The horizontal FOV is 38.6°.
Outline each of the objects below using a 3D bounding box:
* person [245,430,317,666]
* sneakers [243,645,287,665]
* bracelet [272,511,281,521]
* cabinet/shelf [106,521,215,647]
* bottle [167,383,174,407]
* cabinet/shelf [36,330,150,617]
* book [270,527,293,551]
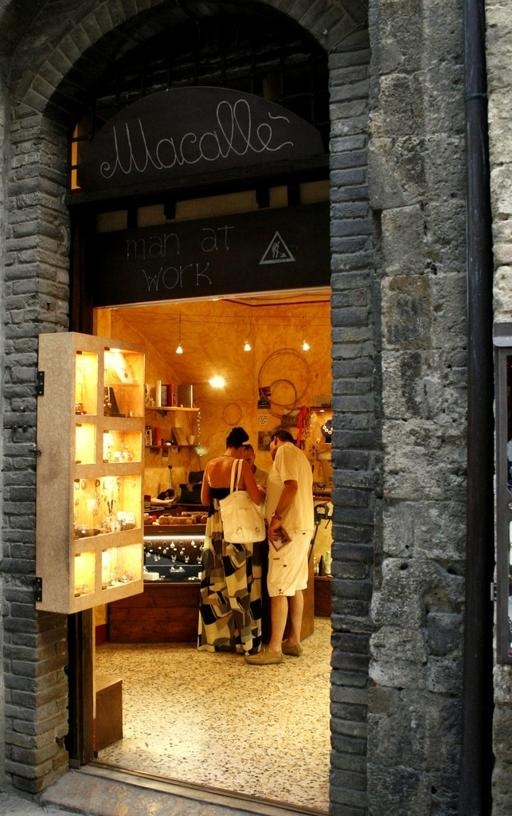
[{"bbox_3d":[0.190,1.015,5.414,0.436,1.707,0.620,-1,-3,13],"label":"person"},{"bbox_3d":[0.070,1.818,5.393,0.220,0.098,0.110,4,-10,-7],"label":"sneakers"},{"bbox_3d":[0.143,0.754,5.140,0.052,0.052,0.052,6,-13,-8],"label":"bracelet"},{"bbox_3d":[-0.937,1.597,5.942,0.905,0.626,0.463,13,-35,-43],"label":"cabinet/shelf"},{"bbox_3d":[-1.055,-0.153,8.953,0.079,0.269,0.179,1,-3,-15],"label":"bottle"},{"bbox_3d":[-0.815,0.308,3.713,0.276,1.323,0.554,-2,-3,35],"label":"cabinet/shelf"},{"bbox_3d":[0.167,0.930,5.212,0.138,0.162,0.080,0,-2,10],"label":"book"}]
